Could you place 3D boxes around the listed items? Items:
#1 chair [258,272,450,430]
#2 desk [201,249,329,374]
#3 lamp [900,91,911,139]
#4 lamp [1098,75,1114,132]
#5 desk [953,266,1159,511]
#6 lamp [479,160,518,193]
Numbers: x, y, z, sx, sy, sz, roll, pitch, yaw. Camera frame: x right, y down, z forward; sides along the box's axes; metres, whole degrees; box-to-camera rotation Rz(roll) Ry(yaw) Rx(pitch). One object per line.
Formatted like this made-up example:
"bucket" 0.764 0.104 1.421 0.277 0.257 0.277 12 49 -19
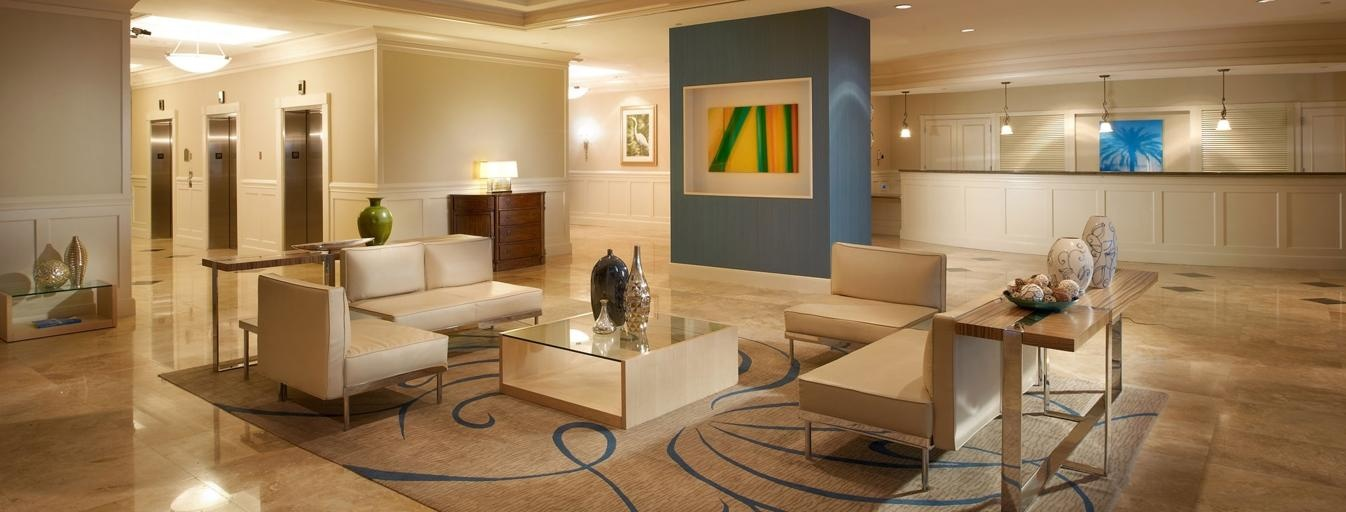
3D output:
"chair" -5.400 1.421 12.696 3.463 2.136 3.159 7 10 39
"desk" -7.626 1.101 12.897 1.019 1.780 2.675 7 9 32
"lamp" 7.642 -4.567 22.651 0.424 1.408 0.674 4 14 18
"lamp" 12.859 -4.437 20.573 0.470 1.537 0.506 9 17 36
"desk" 6.245 2.314 11.306 1.720 1.744 4.709 6 11 43
"lamp" -4.519 -2.042 17.765 1.211 0.695 0.322 -3 19 -14
